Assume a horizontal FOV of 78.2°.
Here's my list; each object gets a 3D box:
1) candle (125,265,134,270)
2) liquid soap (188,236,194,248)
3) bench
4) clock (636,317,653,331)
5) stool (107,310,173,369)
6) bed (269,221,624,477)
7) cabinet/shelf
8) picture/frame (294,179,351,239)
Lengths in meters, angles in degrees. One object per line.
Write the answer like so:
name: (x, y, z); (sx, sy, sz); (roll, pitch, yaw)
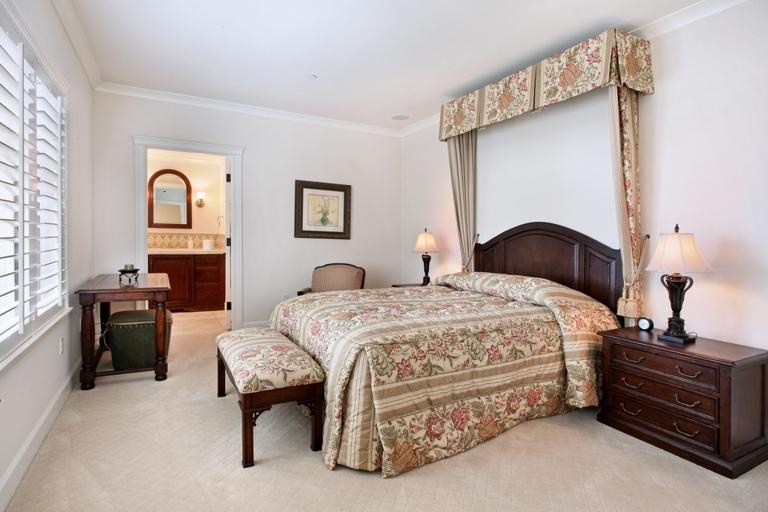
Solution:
candle: (-2.757, 0.116, 5.122); (0.091, 0.059, 0.094); (1, -3, 3)
liquid soap: (-3.424, -0.256, 8.382); (0.105, 0.209, 0.254); (-3, 4, -22)
bench: (-0.917, 0.890, 3.806); (0.715, 0.784, 1.605); (1, 0, -22)
clock: (2.219, 0.579, 4.071); (0.105, 0.111, 0.107); (-9, -9, -41)
stool: (-2.594, 0.857, 5.070); (0.595, 0.539, 0.597); (1, -1, -36)
bed: (0.503, 0.541, 4.673); (2.902, 1.645, 2.310); (-4, 6, -29)
cabinet/shelf: (-3.308, 0.374, 8.097); (1.419, 1.242, 0.816); (-1, 0, -32)
picture/frame: (-0.930, -0.685, 6.799); (0.829, 0.841, 0.066); (-1, 3, -28)
